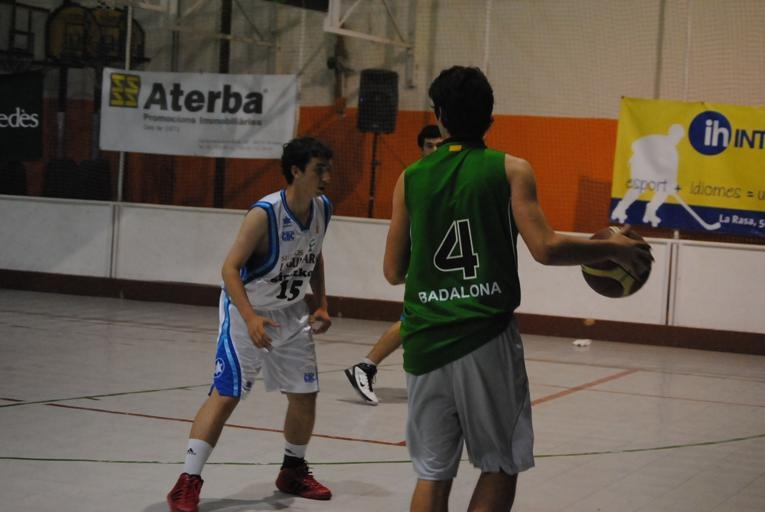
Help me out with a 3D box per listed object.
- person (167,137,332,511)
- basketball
[{"bbox_3d":[-0.828,0.429,5.360,0.953,2.570,0.674,4,8,-15],"label":"person"},{"bbox_3d":[1.367,0.057,4.385,0.391,0.426,0.257,14,2,21],"label":"basketball"}]
